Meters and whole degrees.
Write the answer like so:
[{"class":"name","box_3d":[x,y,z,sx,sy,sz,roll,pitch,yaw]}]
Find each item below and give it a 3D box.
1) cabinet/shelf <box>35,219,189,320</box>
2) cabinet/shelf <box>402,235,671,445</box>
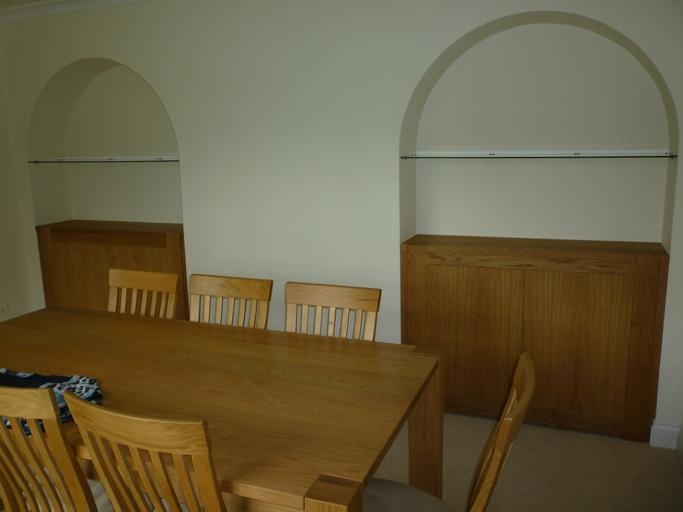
[{"class":"cabinet/shelf","box_3d":[-1.683,0.086,3.718,0.681,0.704,0.257,2,8,14]},{"class":"cabinet/shelf","box_3d":[1.208,0.470,2.941,1.064,0.878,0.356,4,10,19]}]
